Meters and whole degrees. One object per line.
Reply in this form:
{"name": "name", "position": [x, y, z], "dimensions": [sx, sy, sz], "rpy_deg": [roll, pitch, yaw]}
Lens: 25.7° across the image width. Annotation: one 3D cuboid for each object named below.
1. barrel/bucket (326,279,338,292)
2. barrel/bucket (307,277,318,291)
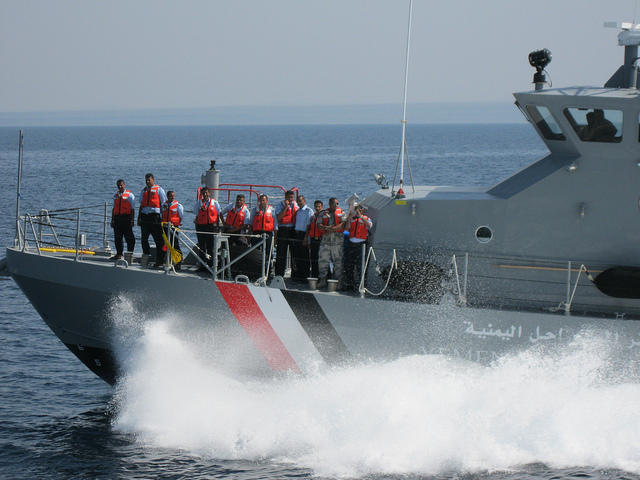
{"name": "barrel/bucket", "position": [0.200, 0.868, 27.574], "dimensions": [0.219, 0.184, 0.216], "rpy_deg": [3, -3, 0]}
{"name": "barrel/bucket", "position": [-0.181, 0.828, 27.610], "dimensions": [0.220, 0.191, 0.223], "rpy_deg": [1, 0, 0]}
